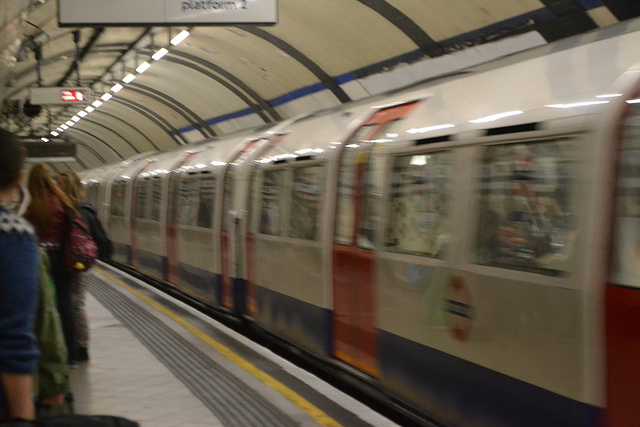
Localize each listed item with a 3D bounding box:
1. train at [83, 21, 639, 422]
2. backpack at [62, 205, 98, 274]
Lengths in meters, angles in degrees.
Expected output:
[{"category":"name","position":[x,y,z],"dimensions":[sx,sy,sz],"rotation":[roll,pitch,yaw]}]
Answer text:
[{"category":"train","position":[0.331,0.436,6.175],"dimensions":[1.405,3.993,7.097],"rotation":[3,0,-43]},{"category":"backpack","position":[-2.706,0.335,5.085],"dimensions":[0.483,0.258,0.664],"rotation":[13,34,-37]}]
